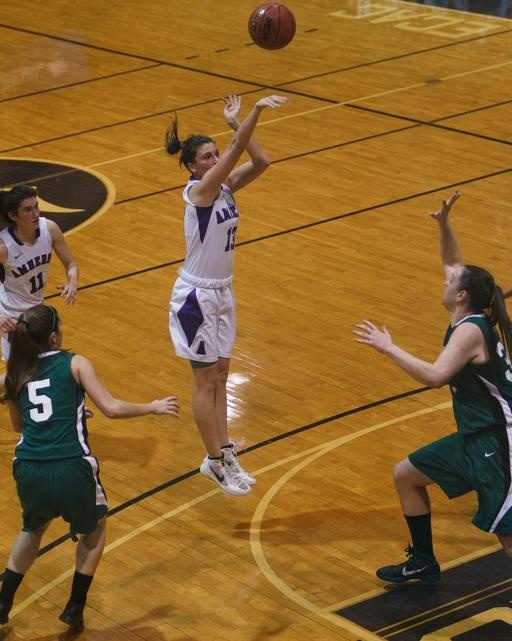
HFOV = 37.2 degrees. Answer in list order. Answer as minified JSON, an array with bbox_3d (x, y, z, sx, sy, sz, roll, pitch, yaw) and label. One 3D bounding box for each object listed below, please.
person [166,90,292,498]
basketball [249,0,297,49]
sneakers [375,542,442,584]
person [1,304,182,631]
[{"bbox_3d":[-0.174,-0.089,3.383,0.319,1.750,0.463,-9,14,-43],"label":"person"},{"bbox_3d":[0.109,-1.964,5.017,0.295,0.309,0.278,0,9,-1],"label":"basketball"},{"bbox_3d":[0.554,0.889,2.853,0.315,0.157,0.105,2,16,8],"label":"sneakers"},{"bbox_3d":[-0.616,0.511,2.467,0.597,1.120,0.314,5,11,26],"label":"person"}]
